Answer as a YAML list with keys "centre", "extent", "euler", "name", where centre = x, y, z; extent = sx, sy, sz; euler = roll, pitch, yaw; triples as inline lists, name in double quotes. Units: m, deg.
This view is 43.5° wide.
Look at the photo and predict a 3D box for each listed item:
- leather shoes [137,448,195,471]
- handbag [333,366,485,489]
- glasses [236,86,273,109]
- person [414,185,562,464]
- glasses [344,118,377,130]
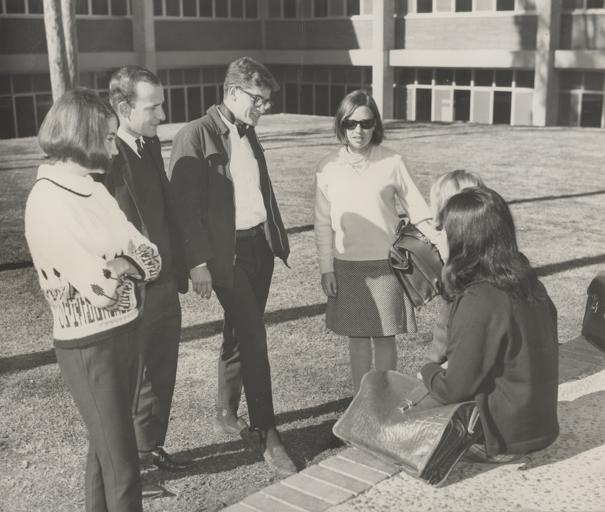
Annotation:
- centre: [-0.758, 1.139, 4.255]
  extent: [0.327, 0.155, 0.115]
  euler: [-1, 4, -15]
  name: "leather shoes"
- centre: [0.526, 0.856, 3.868]
  extent: [0.634, 0.274, 0.609]
  euler: [-26, 28, -37]
  name: "handbag"
- centre: [-0.257, -0.881, 4.222]
  extent: [0.213, 0.124, 0.121]
  euler: [-7, 13, -20]
  name: "glasses"
- centre: [0.901, 0.327, 3.641]
  extent: [0.659, 1.274, 0.379]
  euler: [2, 13, 17]
  name: "person"
- centre: [0.336, -0.788, 4.534]
  extent: [0.195, 0.064, 0.055]
  euler: [-2, 12, 2]
  name: "glasses"
